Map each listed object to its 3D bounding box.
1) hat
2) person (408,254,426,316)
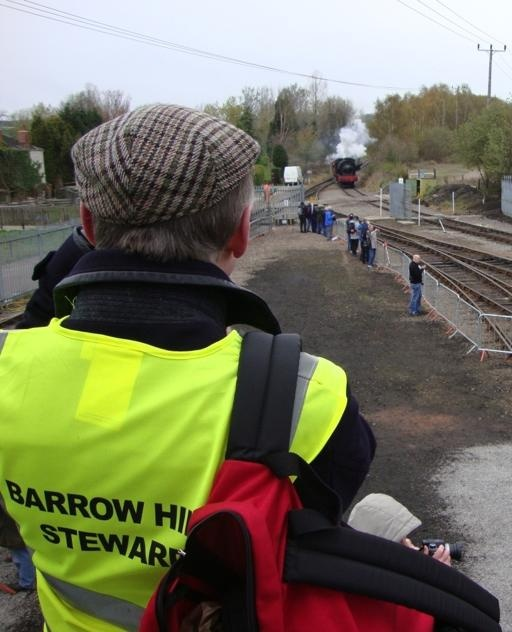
[{"bbox_3d":[-0.195,-0.327,1.379,0.413,0.258,0.236,-4,13,-10],"label":"hat"},{"bbox_3d":[4.118,-0.836,16.253,0.361,1.493,1.292,2,13,13],"label":"person"}]
